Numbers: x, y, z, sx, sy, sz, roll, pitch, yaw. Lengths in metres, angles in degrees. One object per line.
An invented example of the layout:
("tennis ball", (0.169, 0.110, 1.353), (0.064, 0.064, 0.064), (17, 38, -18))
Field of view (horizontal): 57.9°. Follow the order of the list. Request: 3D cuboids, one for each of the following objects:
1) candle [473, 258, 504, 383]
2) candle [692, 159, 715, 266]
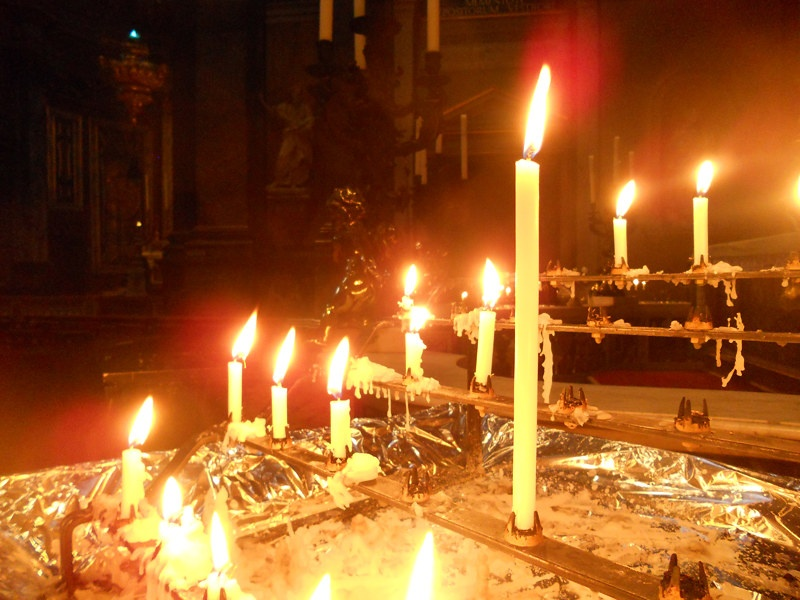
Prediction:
("candle", (0.493, 0.117, 4.086), (0.150, 0.725, 0.442), (-1, -2, 9))
("candle", (1.882, -0.539, 4.487), (0.118, 0.717, 0.476), (-2, -2, 24))
